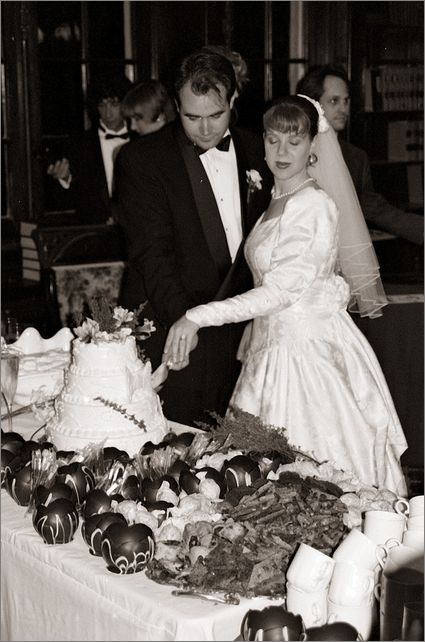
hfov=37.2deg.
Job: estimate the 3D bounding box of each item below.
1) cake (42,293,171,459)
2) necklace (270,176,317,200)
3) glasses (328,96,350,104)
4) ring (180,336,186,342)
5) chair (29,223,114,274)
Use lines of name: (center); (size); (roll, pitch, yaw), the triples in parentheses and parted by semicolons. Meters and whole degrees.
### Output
cake: (-0.245, 0.124, 1.590); (0.278, 0.400, 0.328); (0, 2, -8)
necklace: (0.249, -0.429, 2.071); (0.087, 0.060, 0.205); (-10, 10, -30)
glasses: (0.675, -1.178, 3.390); (0.071, 0.026, 0.082); (-5, 13, -11)
ring: (-0.083, 0.050, 1.758); (0.012, 0.014, 0.003); (-4, -12, 16)
chair: (-1.041, -0.591, 4.913); (0.683, 0.306, 0.195); (-9, 9, -18)
